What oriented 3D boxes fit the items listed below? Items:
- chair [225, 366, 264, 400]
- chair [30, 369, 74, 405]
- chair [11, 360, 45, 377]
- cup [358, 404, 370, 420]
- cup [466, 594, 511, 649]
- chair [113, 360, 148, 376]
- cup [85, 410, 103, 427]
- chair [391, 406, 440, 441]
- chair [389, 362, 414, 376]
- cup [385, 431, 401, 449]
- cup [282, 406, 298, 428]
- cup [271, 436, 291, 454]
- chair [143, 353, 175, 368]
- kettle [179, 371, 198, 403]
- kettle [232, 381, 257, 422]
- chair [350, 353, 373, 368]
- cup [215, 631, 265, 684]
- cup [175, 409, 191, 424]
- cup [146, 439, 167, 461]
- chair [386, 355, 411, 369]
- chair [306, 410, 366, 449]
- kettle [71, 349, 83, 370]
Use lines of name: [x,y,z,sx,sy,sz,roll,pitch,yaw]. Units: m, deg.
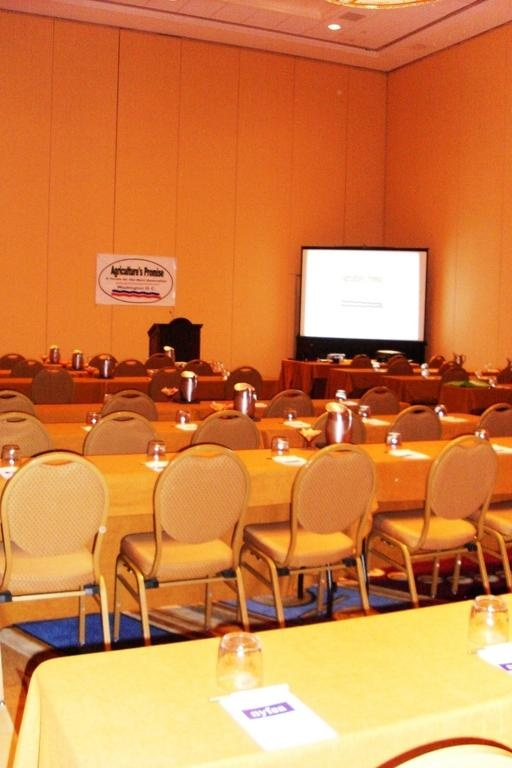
chair: [-0.180,-0.023,8.224,0.410,0.746,0.433,0,13,-16]
chair: [-2.229,0.044,6.824,0.363,0.566,0.436,0,17,-16]
chair: [-2.973,-0.194,7.858,0.266,0.228,0.365,-3,7,-24]
cup: [0.878,0.227,4.932,0.099,0.101,0.102,2,6,0]
cup: [0.475,0.489,1.240,0.089,0.094,0.090,-1,5,0]
chair: [-1.723,-0.226,8.247,0.261,0.169,0.260,-2,6,-31]
cup: [-1.101,0.234,4.120,0.099,0.192,0.101,7,8,-1]
chair: [1.204,0.305,4.540,0.222,0.397,0.238,-1,12,-14]
chair: [2.226,-0.300,9.435,0.317,0.322,0.237,-1,3,-22]
cup: [0.823,0.331,3.646,0.083,0.089,0.086,1,14,0]
cup: [0.267,0.262,4.635,0.105,0.166,0.116,1,2,24]
cup: [0.139,0.342,3.414,0.085,0.085,0.085,-1,0,0]
chair: [-1.445,-0.344,9.175,0.439,0.218,0.416,3,4,-12]
kettle: [-0.604,0.036,5.423,0.180,0.283,0.194,21,29,36]
kettle: [-0.079,0.123,4.376,0.212,0.393,0.241,2,5,3]
chair: [1.768,-0.351,10.156,0.310,0.317,0.228,-1,1,-20]
cup: [-0.022,0.450,1.042,0.074,0.075,0.075,0,7,0]
cup: [-0.551,0.249,4.547,0.098,0.101,0.106,0,6,0]
cup: [-0.498,0.333,3.086,0.088,0.102,0.089,0,11,0]
chair: [2.367,-0.366,10.171,0.206,0.285,0.279,-2,5,-9]
chair: [0.572,0.316,4.054,0.356,0.358,0.271,1,0,-27]
kettle: [-2.447,-0.316,8.332,0.136,0.262,0.366,2,4,-19]
